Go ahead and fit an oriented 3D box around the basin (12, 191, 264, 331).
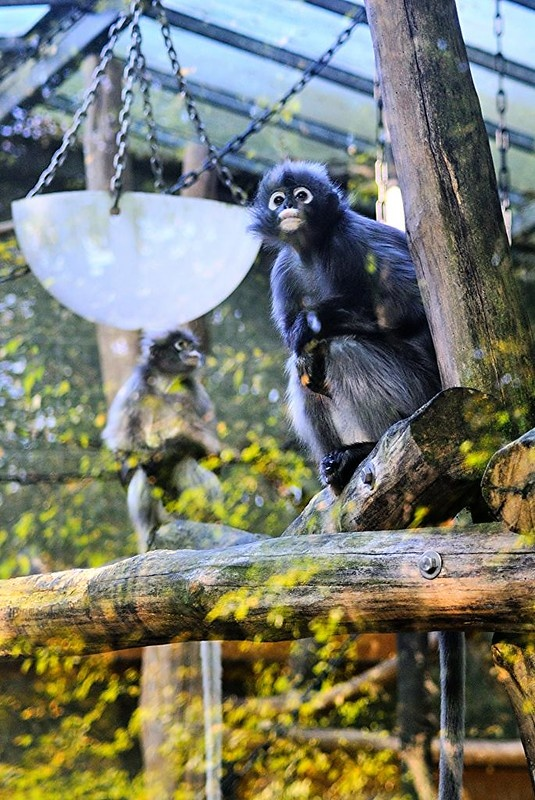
[{"bbox_3d":[-0.279,-0.343,3.853,0.628,0.233,0.601,2,8,0],"label":"basin"}]
